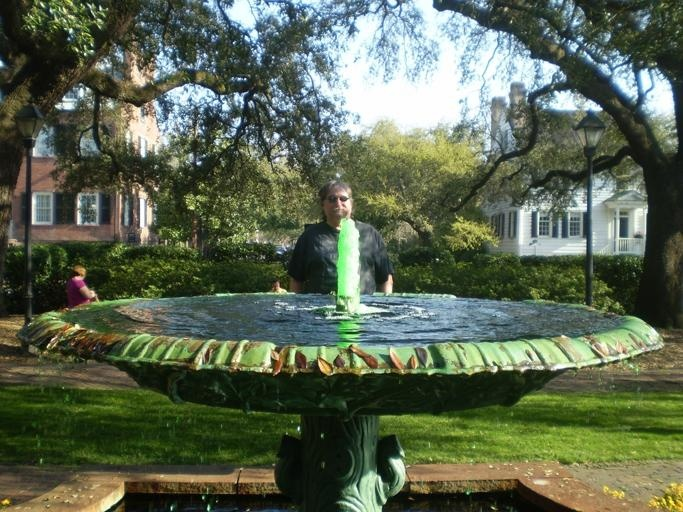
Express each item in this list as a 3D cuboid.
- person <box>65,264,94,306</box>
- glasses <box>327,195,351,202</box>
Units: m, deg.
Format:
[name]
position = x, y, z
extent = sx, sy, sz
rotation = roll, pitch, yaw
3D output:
[person]
position = -5.712, 0.619, 20.904
extent = 0.568, 0.847, 1.861
rotation = -1, 4, -15
[glasses]
position = -0.061, -0.885, 14.669
extent = 0.312, 0.093, 0.056
rotation = -1, 5, -8
